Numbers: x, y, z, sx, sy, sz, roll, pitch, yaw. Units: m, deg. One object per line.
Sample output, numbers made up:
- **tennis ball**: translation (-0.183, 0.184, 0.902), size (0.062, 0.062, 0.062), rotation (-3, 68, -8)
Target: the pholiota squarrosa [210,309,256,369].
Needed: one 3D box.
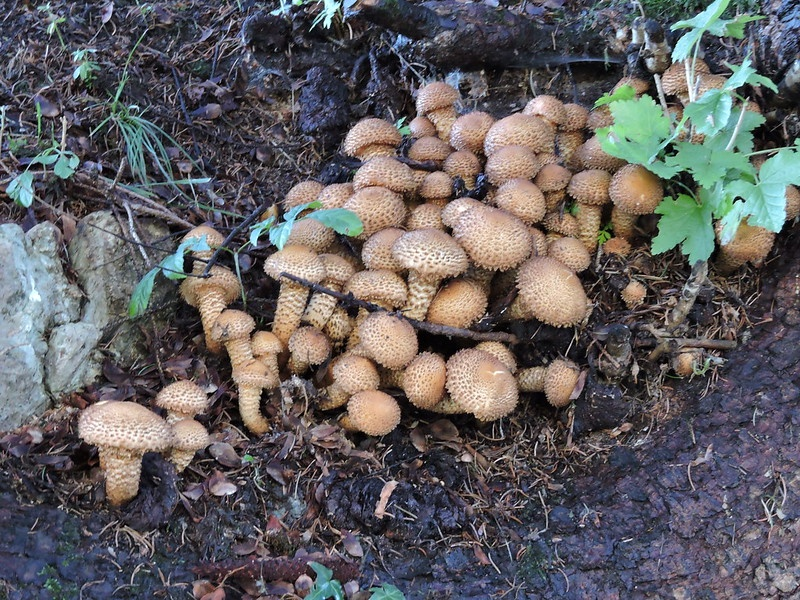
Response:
- **pholiota squarrosa**: translation (-1.259, 0.285, 5.442), size (0.218, 0.197, 0.387), rotation (-37, -31, -21)

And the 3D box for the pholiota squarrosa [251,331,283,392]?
- **pholiota squarrosa**: translation (-1.002, 0.431, 5.554), size (0.229, 0.457, 0.220), rotation (-20, 31, -26)
